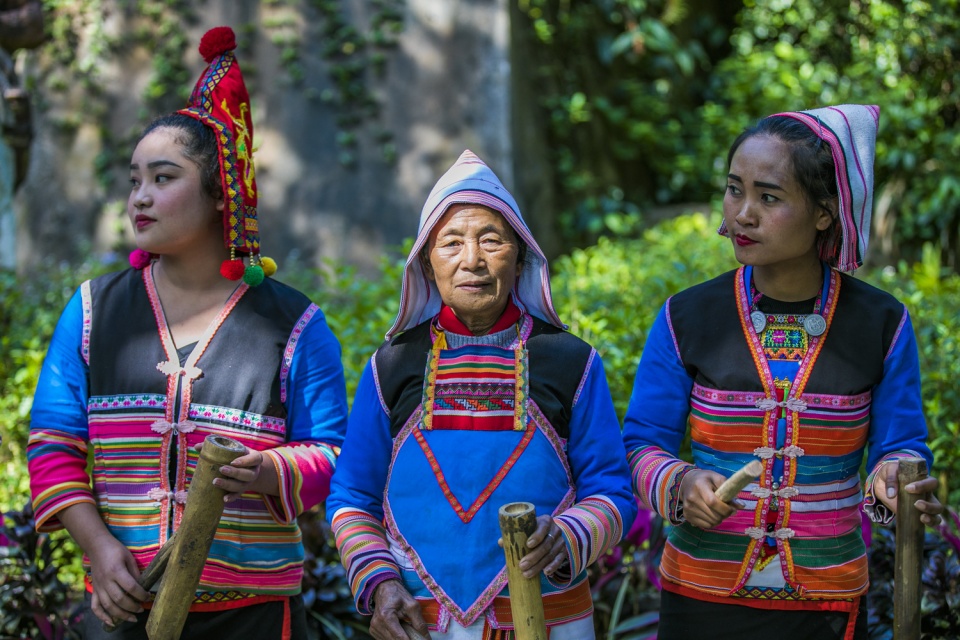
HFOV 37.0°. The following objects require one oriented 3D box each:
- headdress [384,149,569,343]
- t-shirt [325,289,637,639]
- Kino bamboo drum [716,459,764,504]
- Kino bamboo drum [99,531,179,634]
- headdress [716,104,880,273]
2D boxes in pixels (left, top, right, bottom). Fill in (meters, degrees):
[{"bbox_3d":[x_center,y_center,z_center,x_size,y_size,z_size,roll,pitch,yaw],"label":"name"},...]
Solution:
[{"bbox_3d":[-0.052,-0.362,7.318,1.233,1.192,0.867,-2,-6,-3],"label":"headdress"},{"bbox_3d":[-0.007,0.748,6.896,1.438,1.545,0.446,0,-2,-6],"label":"t-shirt"},{"bbox_3d":[1.192,0.761,6.699,0.169,0.212,0.249,0,-2,-3],"label":"Kino bamboo drum"},{"bbox_3d":[-1.623,1.261,6.900,0.506,0.102,0.088,-47,-9,20],"label":"Kino bamboo drum"},{"bbox_3d":[1.725,-0.624,7.451,0.851,0.830,0.804,-1,-4,-33],"label":"headdress"}]
